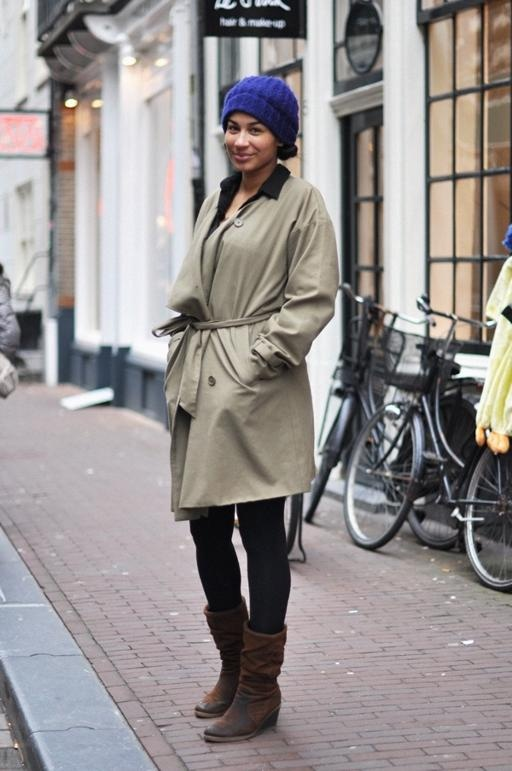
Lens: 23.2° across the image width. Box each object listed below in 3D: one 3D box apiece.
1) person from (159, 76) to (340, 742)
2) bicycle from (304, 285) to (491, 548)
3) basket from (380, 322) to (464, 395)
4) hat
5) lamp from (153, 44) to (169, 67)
[{"bbox_3d":[-0.027,0.052,3.499,0.513,1.836,0.397,2,5,15],"label":"person"},{"bbox_3d":[0.657,0.152,6.083,0.648,0.927,1.465,20,5,-16],"label":"bicycle"},{"bbox_3d":[0.743,-0.096,5.923,0.318,0.295,0.273,31,14,38],"label":"basket"},{"bbox_3d":[0.014,-0.738,3.493,0.156,0.185,0.211,-2,-15,25],"label":"hat"},{"bbox_3d":[-0.847,-3.008,11.403,0.055,0.235,0.238,-1,-3,-27],"label":"lamp"}]
